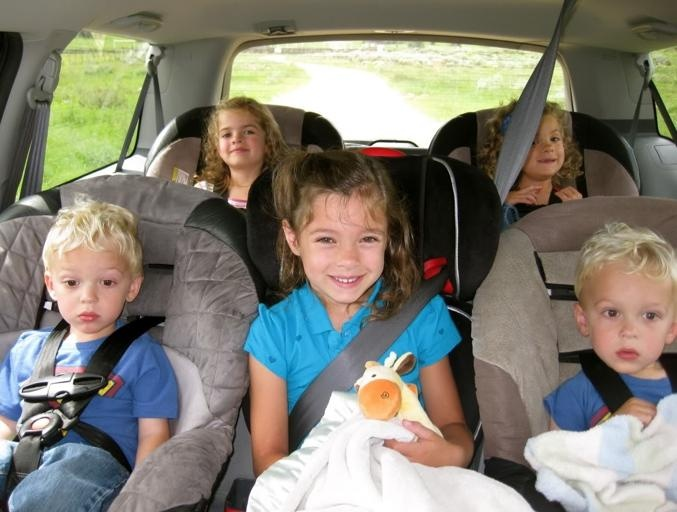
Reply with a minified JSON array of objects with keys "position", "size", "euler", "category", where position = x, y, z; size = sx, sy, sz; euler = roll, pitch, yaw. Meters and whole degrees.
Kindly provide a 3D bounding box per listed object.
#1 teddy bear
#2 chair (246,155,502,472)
[{"position":[0.133,0.354,1.659],"size":[0.190,0.257,0.276],"euler":[-3,48,-9],"category":"teddy bear"},{"position":[0.184,0.084,2.150],"size":[0.723,1.035,0.898],"euler":[-3,5,-1],"category":"chair"}]
